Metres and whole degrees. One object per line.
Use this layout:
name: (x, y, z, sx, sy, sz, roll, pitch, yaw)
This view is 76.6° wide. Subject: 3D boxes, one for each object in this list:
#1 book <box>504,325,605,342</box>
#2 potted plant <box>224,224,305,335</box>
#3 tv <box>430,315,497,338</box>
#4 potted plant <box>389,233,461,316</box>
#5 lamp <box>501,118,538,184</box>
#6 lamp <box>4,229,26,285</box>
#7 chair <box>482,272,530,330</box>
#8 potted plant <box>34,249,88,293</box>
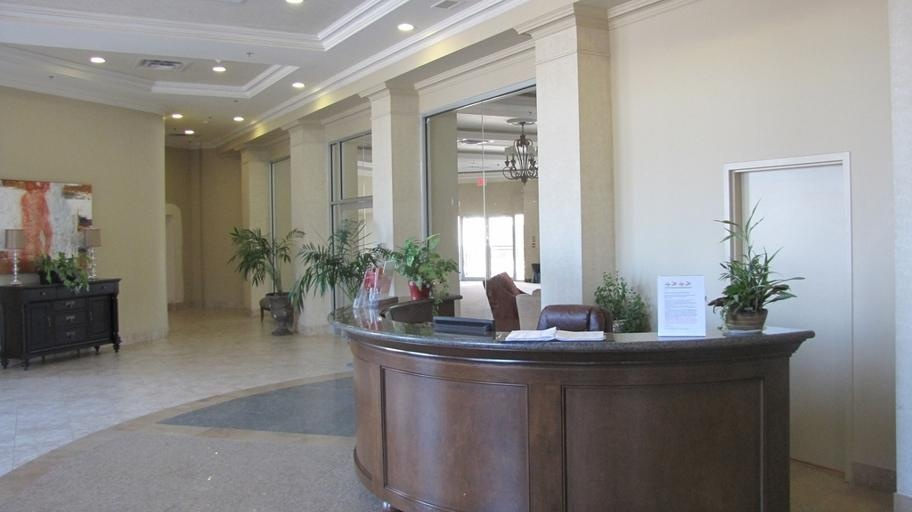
book: (0.893, 0.704, 5.206, 0.906, 0.070, 0.390, 0, 9, 5)
potted plant: (-4.197, 0.442, 13.189, 1.367, 2.270, 3.196, -5, 10, -17)
tv: (0.059, 0.662, 5.446, 0.631, 0.121, 0.225, 2, 10, 16)
potted plant: (-0.451, 0.287, 7.623, 0.937, 0.643, 0.702, 1, -19, -25)
lamp: (1.021, -1.627, 8.790, 0.656, 0.890, 0.612, -6, 6, -38)
lamp: (-7.483, -0.008, 9.847, 0.267, 0.931, 0.361, -9, 13, -37)
chair: (0.644, 0.700, 8.776, 0.882, 0.969, 0.739, -2, 1, 9)
potted plant: (-6.839, 0.254, 10.085, 0.846, 0.524, 0.765, 3, 1, -17)
